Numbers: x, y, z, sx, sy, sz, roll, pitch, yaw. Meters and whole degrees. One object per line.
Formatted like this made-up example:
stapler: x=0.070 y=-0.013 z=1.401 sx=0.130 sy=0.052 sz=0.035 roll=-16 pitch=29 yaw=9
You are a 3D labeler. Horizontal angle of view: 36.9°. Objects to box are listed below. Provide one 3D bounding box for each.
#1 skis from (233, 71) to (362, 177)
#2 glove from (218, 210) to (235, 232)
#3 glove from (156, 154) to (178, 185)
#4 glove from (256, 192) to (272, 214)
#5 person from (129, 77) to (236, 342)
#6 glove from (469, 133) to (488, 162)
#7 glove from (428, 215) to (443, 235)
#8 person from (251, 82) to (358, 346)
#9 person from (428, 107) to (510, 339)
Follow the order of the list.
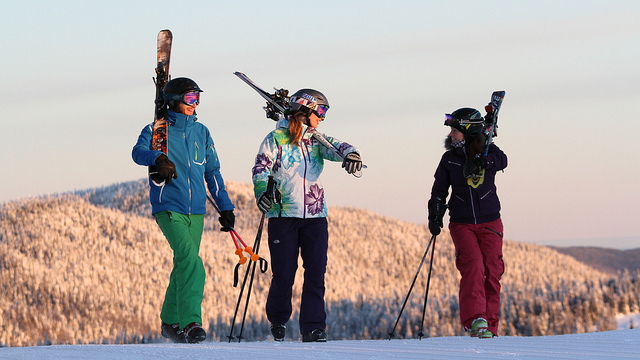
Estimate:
skis: x=-0.256 y=-0.594 z=14.237 sx=0.197 sy=2.345 sz=0.262 roll=-46 pitch=9 yaw=40
glove: x=-1.444 y=0.620 z=15.054 sx=0.240 sy=0.312 sz=0.127 roll=10 pitch=-8 yaw=-23
glove: x=-2.289 y=-0.193 z=14.451 sx=0.315 sy=0.378 sz=0.115 roll=-3 pitch=-6 yaw=-25
glove: x=-0.861 y=0.325 z=14.821 sx=0.234 sy=0.288 sz=0.101 roll=1 pitch=-3 yaw=-12
person: x=-2.159 y=0.469 z=14.773 sx=1.031 sy=3.996 sz=1.155 roll=-1 pitch=11 yaw=-9
glove: x=2.566 y=-0.537 z=15.488 sx=0.101 sy=0.344 sz=0.352 roll=39 pitch=-15 yaw=-22
glove: x=1.867 y=0.716 z=15.512 sx=0.199 sy=0.334 sz=0.203 roll=6 pitch=12 yaw=25
person: x=-0.308 y=0.518 z=15.089 sx=1.333 sy=3.827 sz=1.067 roll=5 pitch=12 yaw=22
person: x=2.454 y=0.639 z=15.498 sx=1.008 sy=3.542 sz=1.287 roll=-9 pitch=15 yaw=-42
